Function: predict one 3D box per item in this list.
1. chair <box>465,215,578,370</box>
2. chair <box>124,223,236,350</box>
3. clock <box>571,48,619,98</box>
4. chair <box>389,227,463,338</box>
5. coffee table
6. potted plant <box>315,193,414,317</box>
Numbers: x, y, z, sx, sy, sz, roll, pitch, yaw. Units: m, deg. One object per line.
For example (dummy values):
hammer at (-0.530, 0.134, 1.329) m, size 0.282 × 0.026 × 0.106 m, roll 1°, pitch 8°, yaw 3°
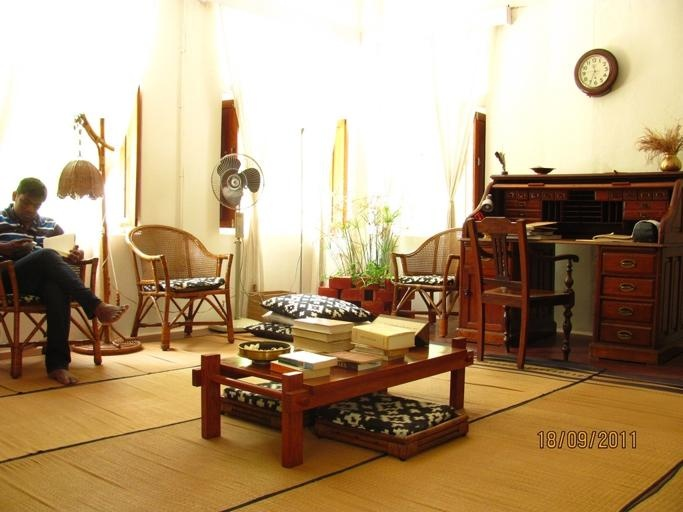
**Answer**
chair at (1.447, 0.260, 4.221) m, size 0.796 × 1.128 × 0.886 m, roll 2°, pitch 4°, yaw 22°
chair at (-1.463, 0.242, 4.729) m, size 0.879 × 0.951 × 0.865 m, roll 3°, pitch 2°, yaw 24°
clock at (2.473, -1.779, 5.105) m, size 0.386 × 0.447 × 0.096 m, roll 3°, pitch 5°, yaw 34°
chair at (0.968, 0.234, 5.388) m, size 0.857 × 0.968 × 0.786 m, roll 3°, pitch 4°, yaw 26°
coffee table at (0.007, 0.683, 2.643) m, size 1.364 × 0.413 × 0.588 m, roll -1°, pitch 4°, yaw -26°
potted plant at (0.239, 0.046, 6.107) m, size 0.873 × 1.264 × 0.719 m, roll 8°, pitch -10°, yaw -9°
